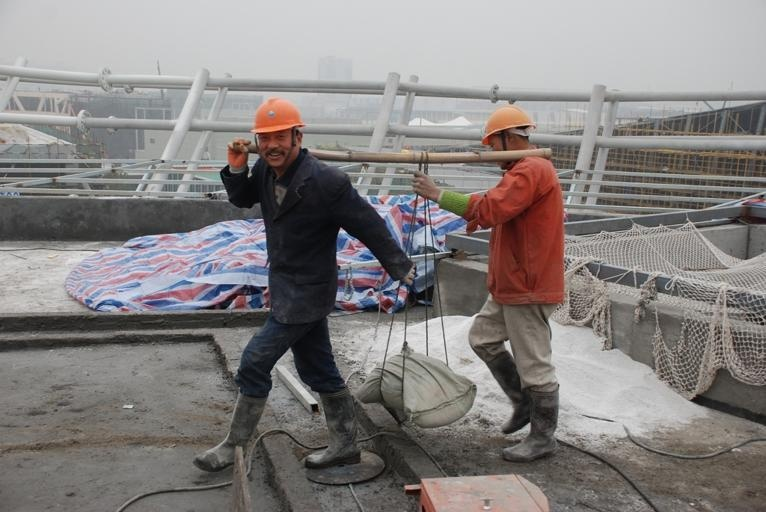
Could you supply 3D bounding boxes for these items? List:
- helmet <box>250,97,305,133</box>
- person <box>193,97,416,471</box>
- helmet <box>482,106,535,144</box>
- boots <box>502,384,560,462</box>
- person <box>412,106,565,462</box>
[{"bbox_3d":[-0.692,-0.926,3.302,0.338,0.203,0.399,-3,17,10],"label":"helmet"},{"bbox_3d":[-0.584,0.235,3.472,1.287,2.506,0.661,2,13,-9],"label":"person"},{"bbox_3d":[0.875,-0.944,3.550,0.318,0.171,0.254,-10,-9,13],"label":"helmet"},{"bbox_3d":[1.007,1.147,3.434,0.329,0.493,0.244,-8,17,-44],"label":"boots"},{"bbox_3d":[0.860,0.339,3.522,0.898,2.025,0.614,8,13,20],"label":"person"}]
